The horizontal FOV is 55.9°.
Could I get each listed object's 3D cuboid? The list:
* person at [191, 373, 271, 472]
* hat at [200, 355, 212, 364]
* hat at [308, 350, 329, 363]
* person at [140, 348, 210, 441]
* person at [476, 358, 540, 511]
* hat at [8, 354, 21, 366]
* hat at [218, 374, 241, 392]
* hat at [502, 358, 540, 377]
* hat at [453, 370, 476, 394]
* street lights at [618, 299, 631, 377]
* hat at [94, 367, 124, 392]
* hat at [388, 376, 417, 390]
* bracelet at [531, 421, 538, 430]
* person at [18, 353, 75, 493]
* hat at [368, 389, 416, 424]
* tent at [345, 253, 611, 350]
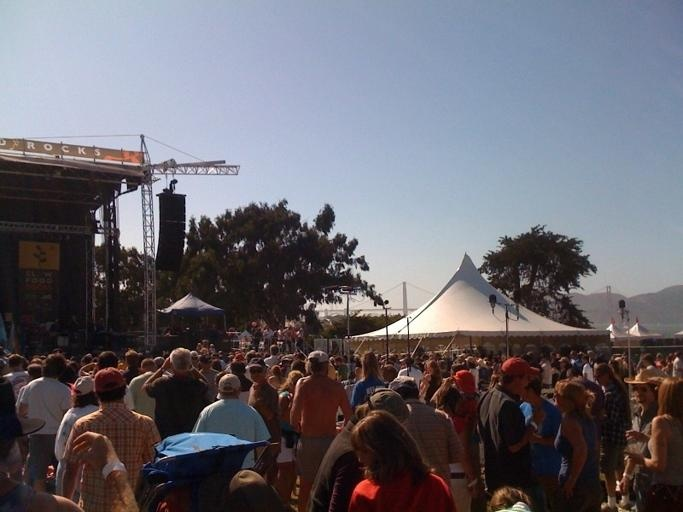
[{"bbox_3d":[-1.080,1.590,6.405,0.783,0.941,0.451,1,15,-6],"label":"person"},{"bbox_3d":[-1.835,1.397,8.696,0.101,0.118,0.088,1,-4,11],"label":"hat"},{"bbox_3d":[-0.240,1.082,6.902,0.115,0.071,0.161,7,3,42],"label":"hat"},{"bbox_3d":[-1.889,1.872,7.196,0.587,1.858,0.469,2,24,-24],"label":"person"},{"bbox_3d":[1.499,1.562,5.913,0.483,1.203,0.365,-3,-8,12],"label":"person"},{"bbox_3d":[-4.305,1.368,8.500,0.116,0.172,0.156,1,6,-10],"label":"hat"},{"bbox_3d":[-1.129,1.273,6.471,0.127,0.116,0.195,0,4,-10],"label":"hat"},{"bbox_3d":[1.667,1.039,6.003,0.298,0.136,0.206,-1,3,-8],"label":"hat"},{"bbox_3d":[1.433,1.445,7.426,0.329,0.223,0.250,8,-1,-13],"label":"hat"},{"bbox_3d":[9.959,2.528,22.671,0.441,2.552,0.510,5,38,35],"label":"street lights"},{"bbox_3d":[-1.833,0.962,5.077,0.141,0.128,0.209,-4,5,-22],"label":"hat"},{"bbox_3d":[0.552,1.117,5.758,0.221,0.078,0.170,1,-9,-23],"label":"hat"},{"bbox_3d":[1.836,1.626,6.161,0.097,0.027,0.093,27,17,-45],"label":"bracelet"},{"bbox_3d":[-3.286,1.978,7.274,0.545,1.785,0.491,2,6,-7],"label":"person"},{"bbox_3d":[0.361,1.089,4.723,0.232,0.197,0.321,5,6,-40],"label":"hat"},{"bbox_3d":[5.424,1.477,26.581,6.548,4.293,6.485,-10,-12,43],"label":"tent"}]
